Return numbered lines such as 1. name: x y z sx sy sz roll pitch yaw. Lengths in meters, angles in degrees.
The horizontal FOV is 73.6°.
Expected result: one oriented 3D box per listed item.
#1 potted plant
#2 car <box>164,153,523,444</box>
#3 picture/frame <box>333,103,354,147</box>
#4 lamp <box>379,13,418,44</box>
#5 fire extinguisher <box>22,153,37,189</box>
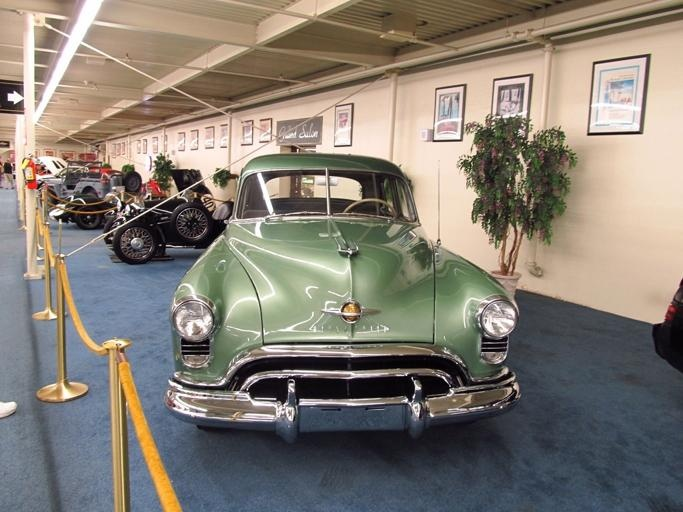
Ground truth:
1. potted plant: 2.532 -0.558 6.360 1.524 2.216 1.589 1 6 -26
2. car: -0.003 0.053 3.309 2.060 1.591 2.164 1 12 -4
3. picture/frame: 0.027 -2.954 10.324 0.157 0.921 0.708 -5 15 -30
4. lamp: 0.863 -3.496 7.068 0.467 0.261 0.439 1 2 -24
5. fire extinguisher: -4.538 -1.214 6.644 0.143 0.489 0.290 -7 16 -35
